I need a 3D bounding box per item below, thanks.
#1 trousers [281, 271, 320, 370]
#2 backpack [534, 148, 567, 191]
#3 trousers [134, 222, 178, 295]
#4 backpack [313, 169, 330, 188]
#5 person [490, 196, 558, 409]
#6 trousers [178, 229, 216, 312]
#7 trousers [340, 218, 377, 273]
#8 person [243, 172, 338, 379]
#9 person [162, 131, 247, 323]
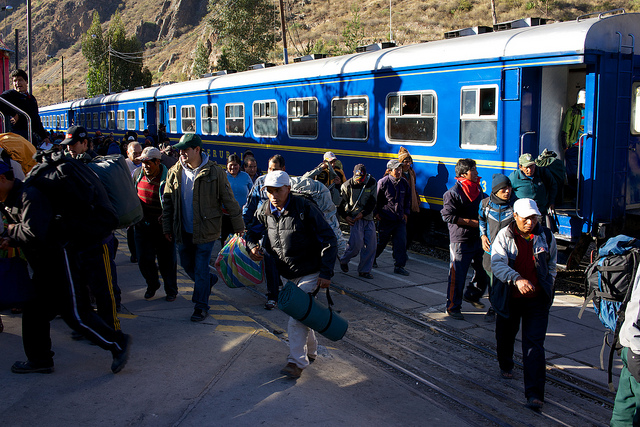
[{"bbox_3d":[-0.193,1.271,6.271,0.361,1.122,0.649,3,12,-1],"label":"trousers"},{"bbox_3d":[3.913,-0.779,9.026,0.642,0.540,0.340,0,13,-18],"label":"backpack"},{"bbox_3d":[-2.558,0.463,8.352,0.561,2.010,0.480,8,27,-1],"label":"trousers"},{"bbox_3d":[0.001,-0.700,9.706,0.309,0.316,0.249,-12,-28,-40],"label":"backpack"},{"bbox_3d":[2.388,0.986,6.243,0.812,2.330,0.707,10,14,28],"label":"person"},{"bbox_3d":[-1.794,0.814,7.716,0.409,1.107,0.742,-3,14,-30],"label":"trousers"},{"bbox_3d":[0.758,0.575,10.088,0.620,1.024,0.385,5,12,5],"label":"trousers"},{"bbox_3d":[-0.413,0.610,6.458,0.753,2.282,1.326,-6,15,-38],"label":"person"},{"bbox_3d":[-1.766,0.120,7.713,1.122,2.530,0.721,12,14,34],"label":"person"}]
